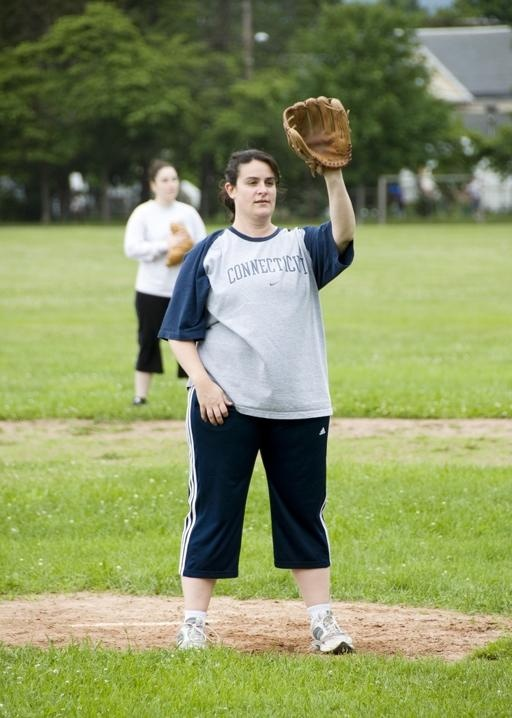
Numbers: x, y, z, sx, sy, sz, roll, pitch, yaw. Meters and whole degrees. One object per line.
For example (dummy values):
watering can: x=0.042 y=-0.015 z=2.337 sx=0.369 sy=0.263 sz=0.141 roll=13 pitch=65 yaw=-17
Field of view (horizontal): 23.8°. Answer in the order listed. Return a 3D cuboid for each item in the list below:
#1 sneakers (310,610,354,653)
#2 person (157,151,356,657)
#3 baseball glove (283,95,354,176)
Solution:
sneakers: x=0.272 y=0.999 z=4.441 sx=0.099 sy=0.098 sz=0.214 roll=1 pitch=-3 yaw=-21
person: x=0.002 y=0.168 z=4.370 sx=0.679 sy=1.811 sz=0.437 roll=0 pitch=12 yaw=-5
baseball glove: x=0.216 y=-0.790 z=4.308 sx=0.238 sy=0.273 sz=0.240 roll=1 pitch=11 yaw=0
